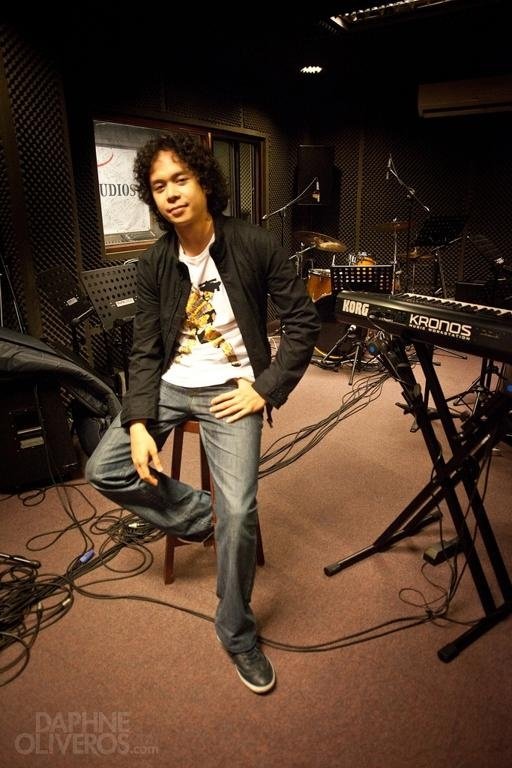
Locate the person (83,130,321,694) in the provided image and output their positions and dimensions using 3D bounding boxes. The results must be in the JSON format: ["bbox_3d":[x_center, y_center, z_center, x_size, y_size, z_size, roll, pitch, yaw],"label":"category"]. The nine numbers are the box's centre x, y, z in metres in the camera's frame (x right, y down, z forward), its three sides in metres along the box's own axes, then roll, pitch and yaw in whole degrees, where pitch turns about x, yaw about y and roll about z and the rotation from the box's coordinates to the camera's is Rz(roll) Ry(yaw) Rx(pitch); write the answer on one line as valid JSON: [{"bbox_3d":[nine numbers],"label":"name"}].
[{"bbox_3d":[-0.168,-0.002,1.753,0.796,1.603,0.627,10,20,32],"label":"person"}]

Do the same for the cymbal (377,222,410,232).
[{"bbox_3d":[1.361,-1.531,5.141,0.365,0.097,0.241,-12,21,-32],"label":"cymbal"}]

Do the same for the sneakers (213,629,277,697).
[{"bbox_3d":[-0.013,0.845,1.592,0.066,0.075,0.186,-6,6,-25],"label":"sneakers"}]

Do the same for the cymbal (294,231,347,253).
[{"bbox_3d":[0.627,-1.361,5.028,0.356,0.085,0.360,22,-11,1],"label":"cymbal"}]
